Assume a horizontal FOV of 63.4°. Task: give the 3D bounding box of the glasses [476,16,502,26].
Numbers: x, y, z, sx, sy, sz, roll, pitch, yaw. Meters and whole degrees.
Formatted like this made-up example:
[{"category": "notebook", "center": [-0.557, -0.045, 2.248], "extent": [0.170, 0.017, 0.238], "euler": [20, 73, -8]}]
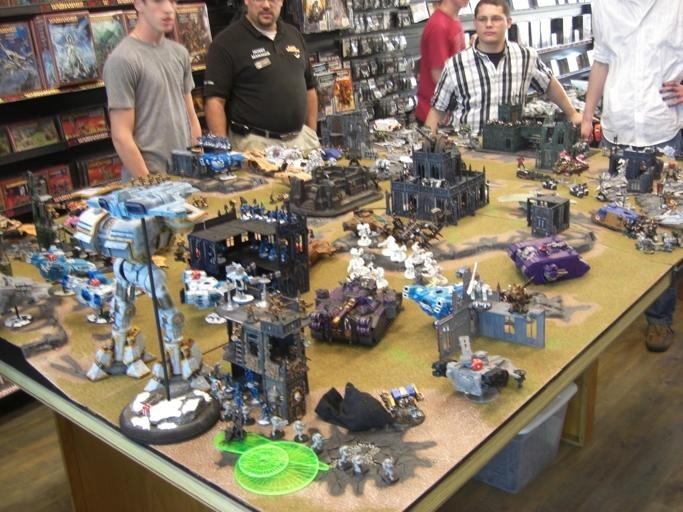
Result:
[{"category": "glasses", "center": [2.090, -3.380, 7.835], "extent": [0.337, 0.123, 0.137], "euler": [9, 26, 27]}]
